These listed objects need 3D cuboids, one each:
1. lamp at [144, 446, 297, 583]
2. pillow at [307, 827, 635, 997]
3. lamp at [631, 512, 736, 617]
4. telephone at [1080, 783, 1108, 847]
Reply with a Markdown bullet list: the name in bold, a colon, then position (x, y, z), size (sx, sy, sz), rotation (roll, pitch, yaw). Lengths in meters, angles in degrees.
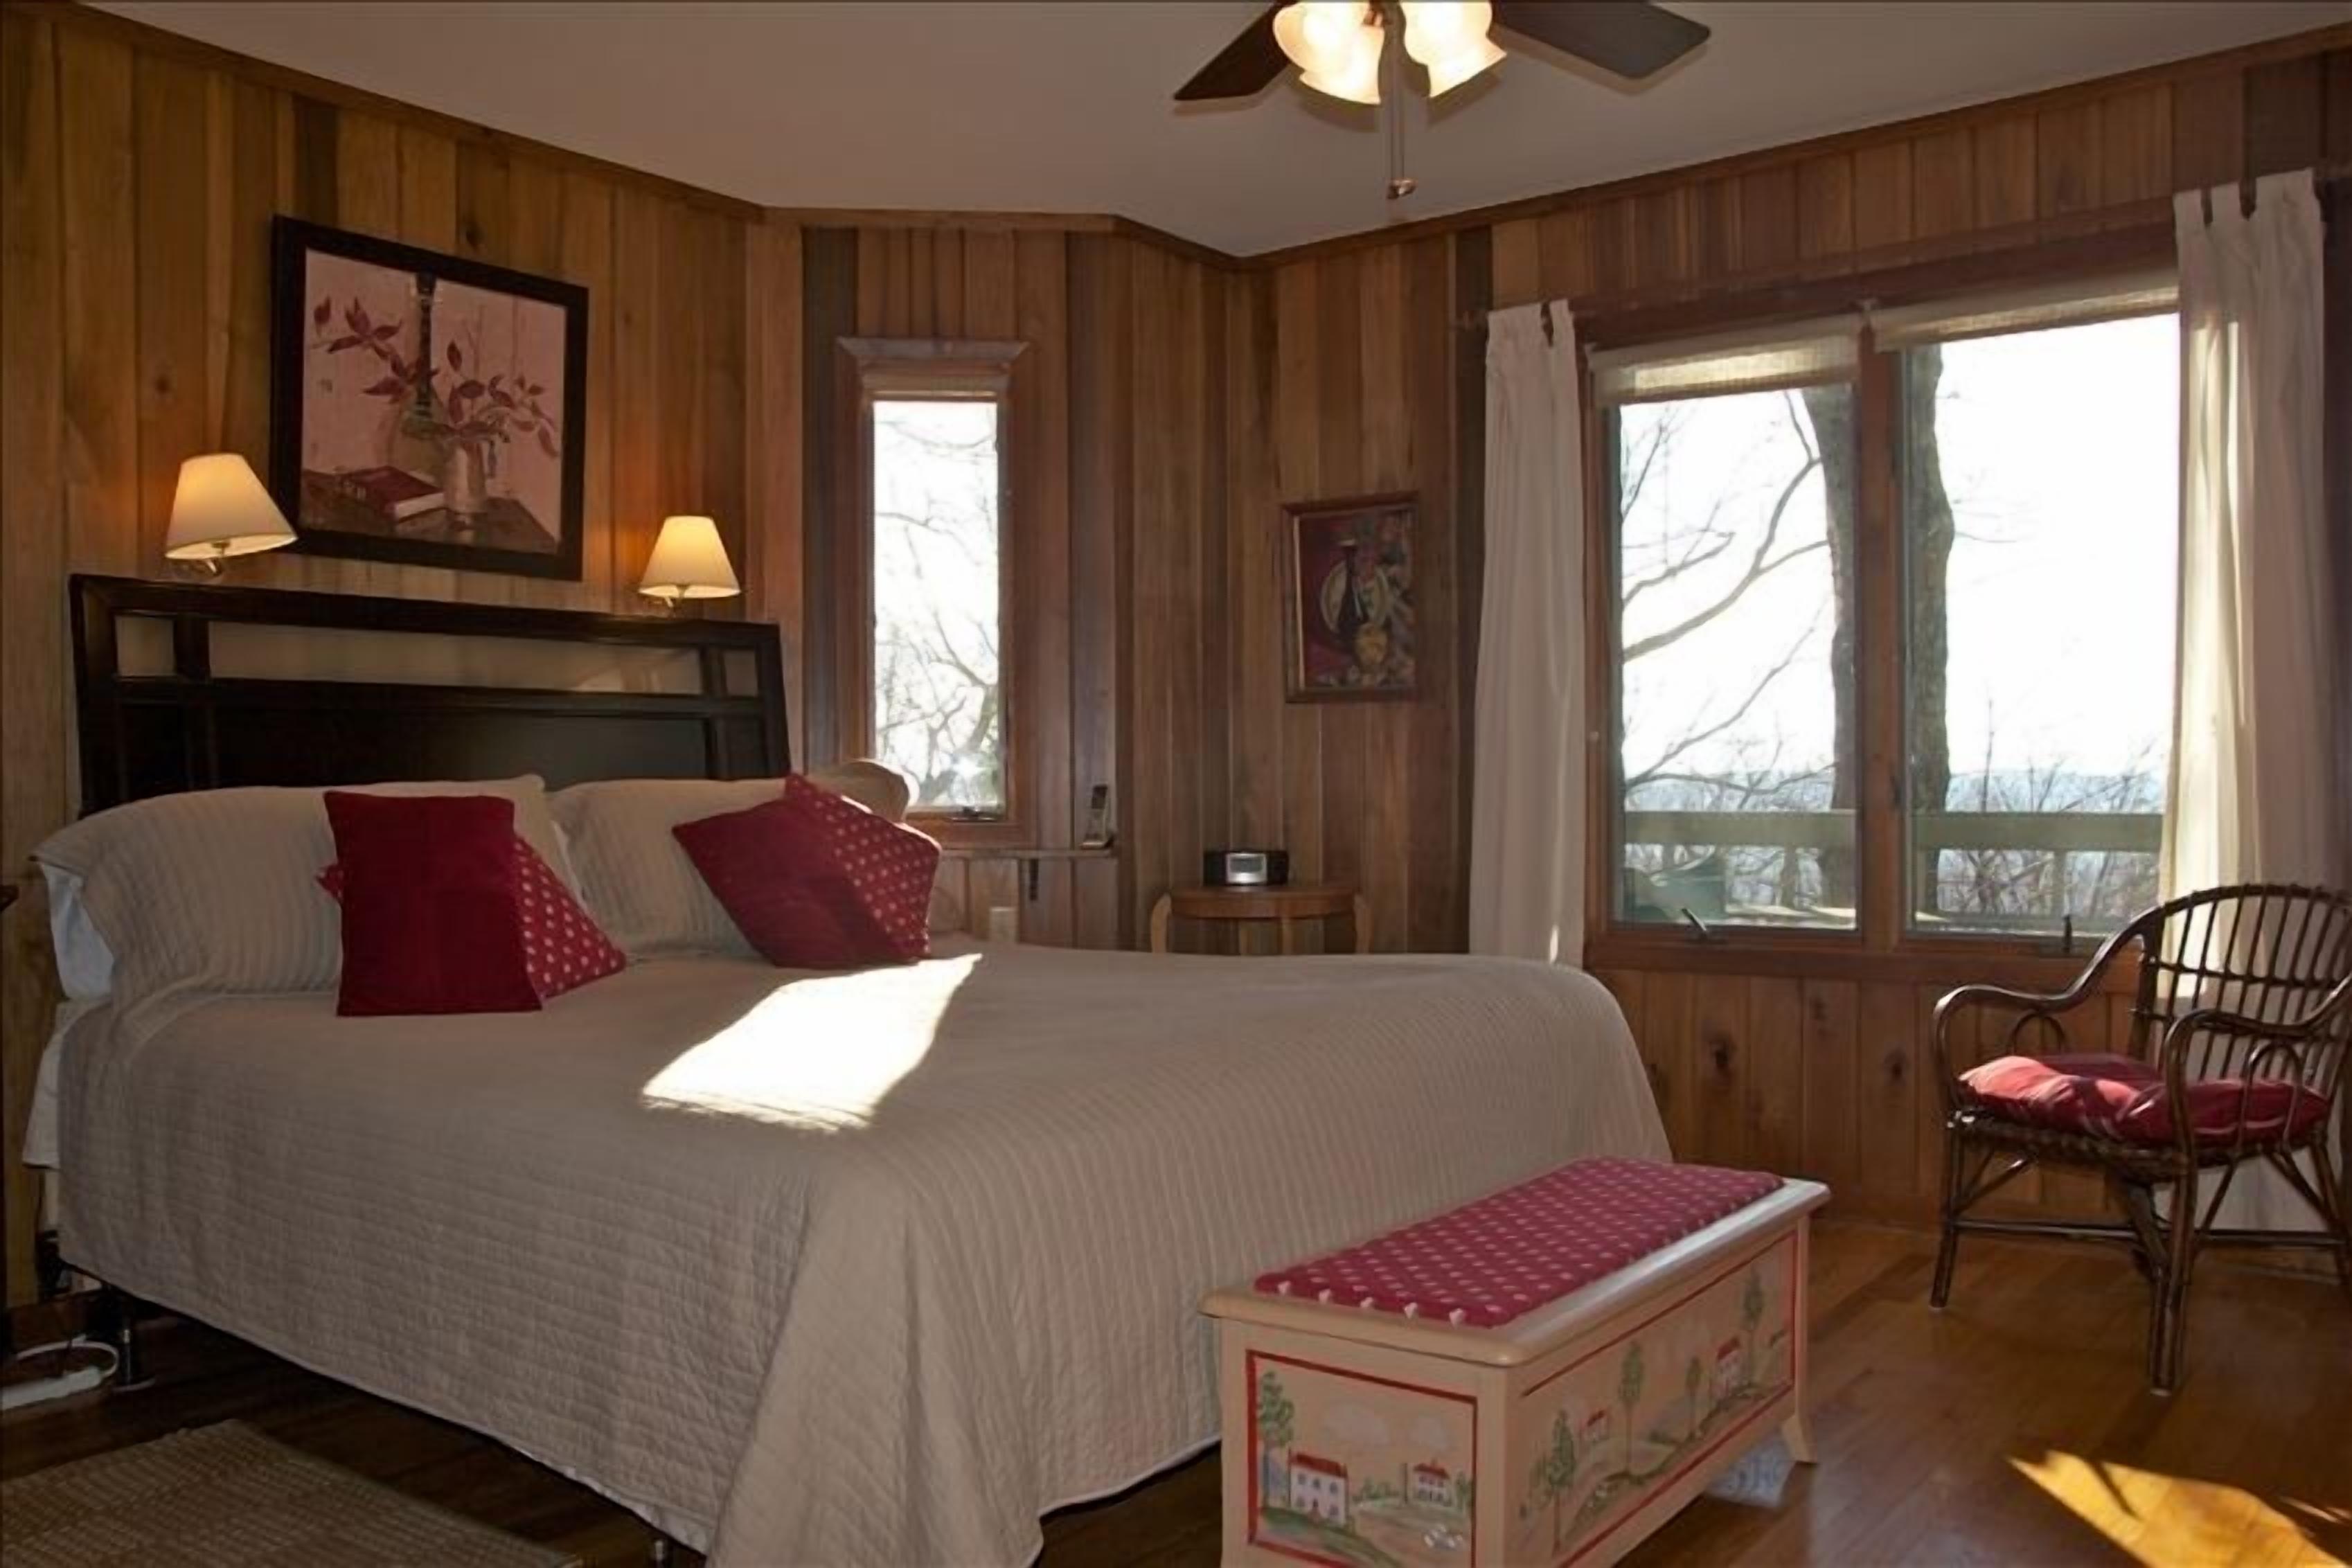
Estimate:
- **lamp**: position (-2.772, -0.803, 5.162), size (0.351, 0.307, 0.314), rotation (-12, 7, -41)
- **pillow**: position (-1.878, 0.425, 4.813), size (0.811, 0.239, 0.853), rotation (-5, 19, -29)
- **lamp**: position (-1.677, -0.753, 6.163), size (0.326, 0.306, 0.331), rotation (-1, -6, 1)
- **telephone**: position (-0.293, 0.114, 6.631), size (0.117, 0.203, 0.047), rotation (0, -3, 0)
